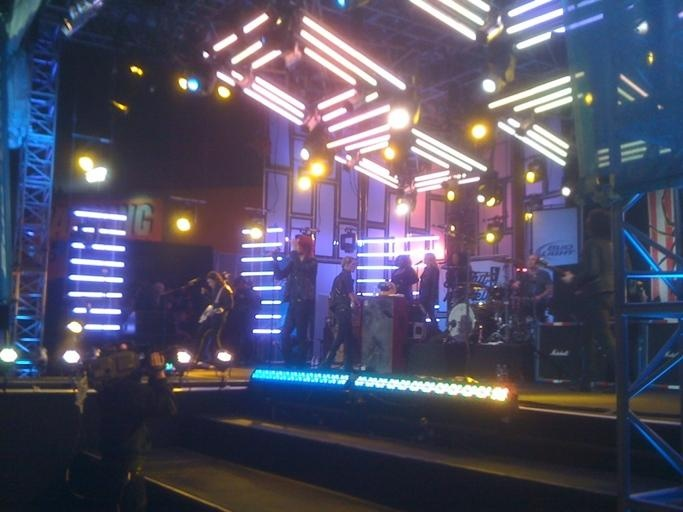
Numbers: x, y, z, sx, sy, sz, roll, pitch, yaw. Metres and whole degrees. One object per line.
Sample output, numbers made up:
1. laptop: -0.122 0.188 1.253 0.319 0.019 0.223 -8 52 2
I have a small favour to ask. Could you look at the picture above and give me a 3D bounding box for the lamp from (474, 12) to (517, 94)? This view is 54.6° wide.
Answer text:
1. lamp: 2.420 -3.144 10.101 0.592 0.889 0.915 4 -47 22
